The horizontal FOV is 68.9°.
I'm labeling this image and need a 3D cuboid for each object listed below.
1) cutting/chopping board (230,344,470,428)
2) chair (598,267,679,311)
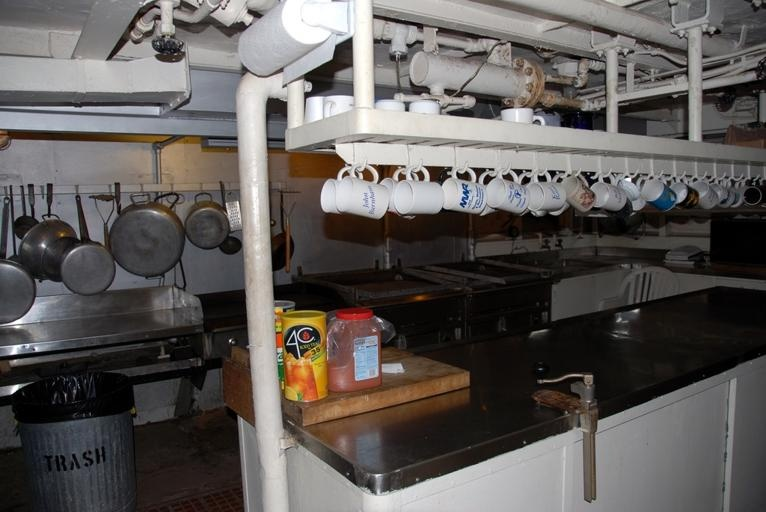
[{"bbox_3d":[-0.046,0.523,2.166,0.546,0.140,0.465,-9,14,-36],"label":"cutting/chopping board"},{"bbox_3d":[2.090,0.249,4.483,0.510,0.329,0.703,5,13,30],"label":"chair"}]
